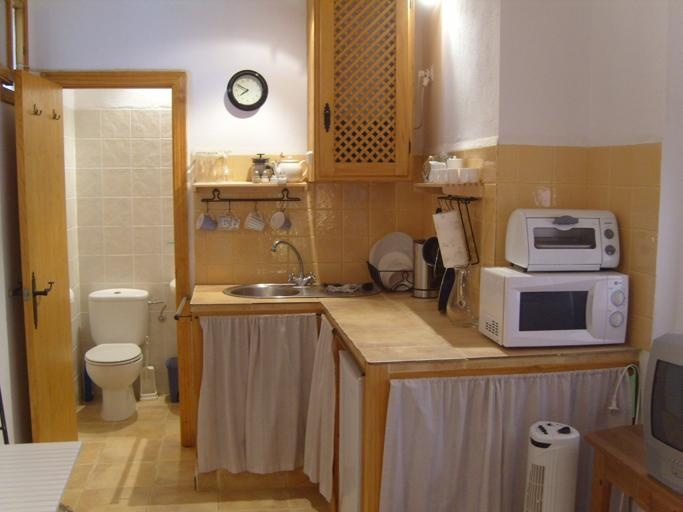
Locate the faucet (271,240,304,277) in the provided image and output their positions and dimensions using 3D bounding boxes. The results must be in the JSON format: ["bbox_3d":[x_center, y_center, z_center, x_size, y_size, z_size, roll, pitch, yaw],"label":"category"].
[{"bbox_3d":[-0.365,0.019,3.994,0.211,0.269,0.192,-5,9,-4],"label":"faucet"}]

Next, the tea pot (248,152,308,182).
[{"bbox_3d":[-0.416,-0.582,3.900,0.368,0.189,0.203,3,8,11],"label":"tea pot"}]

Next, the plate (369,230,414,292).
[{"bbox_3d":[0.339,0.043,4.008,0.312,0.382,0.203,-4,9,2],"label":"plate"}]

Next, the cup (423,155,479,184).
[{"bbox_3d":[0.607,-0.481,3.272,0.245,0.099,0.143,0,8,1],"label":"cup"}]

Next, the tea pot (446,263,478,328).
[{"bbox_3d":[0.649,0.195,3.131,0.162,0.349,0.197,-3,3,24],"label":"tea pot"}]

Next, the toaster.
[{"bbox_3d":[1.071,-0.080,2.780,0.399,0.300,0.315,0,-3,-4],"label":"toaster"}]

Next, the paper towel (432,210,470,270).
[{"bbox_3d":[0.620,-0.095,3.263,0.172,0.303,0.171,-6,9,-10],"label":"paper towel"}]
